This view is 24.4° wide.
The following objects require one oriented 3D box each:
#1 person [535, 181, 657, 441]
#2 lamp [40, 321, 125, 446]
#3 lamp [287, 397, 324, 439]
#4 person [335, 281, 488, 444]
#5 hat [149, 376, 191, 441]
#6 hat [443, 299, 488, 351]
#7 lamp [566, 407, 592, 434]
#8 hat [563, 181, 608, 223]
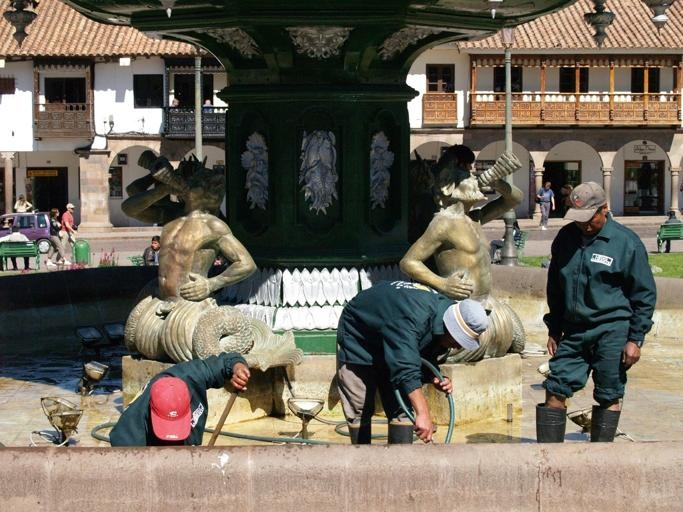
[{"bbox_3d":[2.506,0.567,15.759,1.116,2.585,0.448,1,3,6],"label":"person"},{"bbox_3d":[-2.936,1.306,18.197,0.463,0.525,1.457,11,40,2],"label":"lamp"},{"bbox_3d":[-0.351,1.662,16.332,0.404,0.404,0.394,3,-4,10],"label":"lamp"},{"bbox_3d":[0.599,1.054,15.201,0.830,1.608,1.400,-1,3,-32],"label":"person"},{"bbox_3d":[-1.563,1.389,14.396,0.344,0.543,0.218,-5,-24,-9],"label":"hat"},{"bbox_3d":[1.161,0.624,14.792,0.390,0.450,0.248,-25,-10,-40],"label":"hat"},{"bbox_3d":[2.458,1.689,16.378,0.205,0.105,0.251,-2,-30,35],"label":"lamp"},{"bbox_3d":[2.414,-0.511,15.649,0.300,0.258,0.476,13,38,40],"label":"hat"}]
